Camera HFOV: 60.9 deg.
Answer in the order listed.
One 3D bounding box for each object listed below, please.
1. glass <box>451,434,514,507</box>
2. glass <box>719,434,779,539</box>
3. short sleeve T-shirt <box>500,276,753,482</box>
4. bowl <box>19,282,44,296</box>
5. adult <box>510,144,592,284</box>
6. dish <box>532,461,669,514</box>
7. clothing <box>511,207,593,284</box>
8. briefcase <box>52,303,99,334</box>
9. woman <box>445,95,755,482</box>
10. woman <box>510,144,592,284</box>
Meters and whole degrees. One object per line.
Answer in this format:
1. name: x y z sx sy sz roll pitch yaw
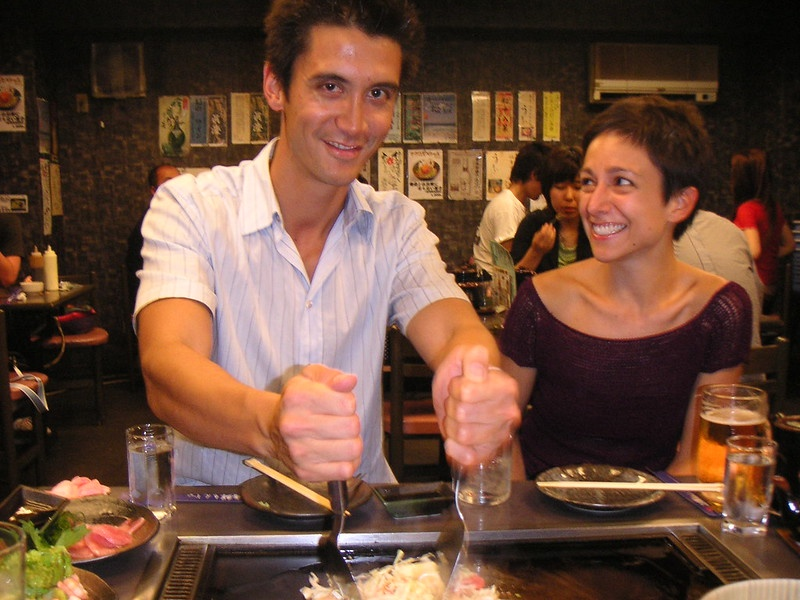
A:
1. glass: 0.185 0.387 1.570 0.154 0.171 0.158 -1 -1 5
2. glass: 0.800 0.435 1.579 0.111 0.199 0.114 4 0 24
3. short sleeve T-shirt: 0.755 0.294 2.530 1.007 0.886 0.604 1 1 11
4. bowl: -2.600 -0.083 4.873 0.122 0.070 0.129 -1 -4 0
5. adult: 1.027 -0.445 4.184 0.485 0.748 0.416 7 -19 2
6. dish: 0.505 0.466 1.716 0.311 0.038 0.277 0 6 12
7. clothing: 0.896 -0.384 4.383 0.428 0.568 0.182 -1 18 3
8. briefcase: -2.472 0.157 5.314 0.225 0.090 0.230 8 11 12
9. woman: 0.754 0.030 2.429 0.882 1.361 0.792 7 15 26
10. woman: 1.028 -0.629 4.206 0.529 0.448 0.812 -13 -38 0
